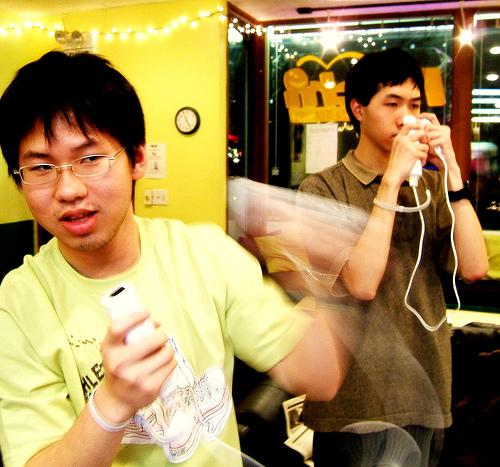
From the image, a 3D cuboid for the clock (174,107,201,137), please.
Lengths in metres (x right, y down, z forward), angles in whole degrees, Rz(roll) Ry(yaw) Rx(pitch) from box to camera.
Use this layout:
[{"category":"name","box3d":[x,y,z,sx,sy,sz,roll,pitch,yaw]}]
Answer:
[{"category":"clock","box3d":[-0.457,-0.820,3.135,0.182,0.195,0.043,3,7,9]}]

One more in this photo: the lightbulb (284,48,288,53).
[{"category":"lightbulb","box3d":[0.206,-1.046,2.457,0.012,0.024,0.036,-12,14,-28]}]

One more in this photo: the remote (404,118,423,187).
[{"category":"remote","box3d":[0.252,-0.117,0.684,0.020,0.129,0.034,4,-13,-2]}]

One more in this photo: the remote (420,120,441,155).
[{"category":"remote","box3d":[0.290,-0.152,0.701,0.017,0.050,0.049,-10,3,32]}]

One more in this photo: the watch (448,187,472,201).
[{"category":"watch","box3d":[0.377,-0.069,0.777,0.035,0.022,0.027,-4,8,5]}]

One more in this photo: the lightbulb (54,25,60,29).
[{"category":"lightbulb","box3d":[-1.496,-1.599,3.339,0.057,0.035,0.021,4,15,36]}]

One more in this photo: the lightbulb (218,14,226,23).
[{"category":"lightbulb","box3d":[-0.187,-1.472,2.948,0.045,0.048,0.064,3,15,13]}]

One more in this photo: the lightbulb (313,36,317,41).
[{"category":"lightbulb","box3d":[0.377,-1.119,2.476,0.014,0.022,0.012,-2,13,13]}]

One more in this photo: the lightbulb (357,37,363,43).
[{"category":"lightbulb","box3d":[0.578,-1.018,2.264,0.028,0.031,0.010,-1,13,19]}]

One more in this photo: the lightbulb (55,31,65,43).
[{"category":"lightbulb","box3d":[-1.321,-1.372,3.008,0.065,0.078,0.051,-1,-8,-9]}]

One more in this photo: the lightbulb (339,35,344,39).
[{"category":"lightbulb","box3d":[0.478,-1.028,2.252,0.031,0.019,0.010,-11,14,-22]}]

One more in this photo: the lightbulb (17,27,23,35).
[{"category":"lightbulb","box3d":[-1.775,-1.567,3.335,0.018,0.052,0.055,-2,13,14]}]

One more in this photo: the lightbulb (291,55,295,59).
[{"category":"lightbulb","box3d":[0.238,-0.990,2.413,0.018,0.021,0.023,-4,13,6]}]

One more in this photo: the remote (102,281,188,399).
[{"category":"remote","box3d":[-0.150,0.170,0.688,0.069,0.236,0.032,-36,25,-17]}]

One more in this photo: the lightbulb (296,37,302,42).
[{"category":"lightbulb","box3d":[0.279,-1.114,2.471,0.033,0.025,0.009,-12,14,-28]}]

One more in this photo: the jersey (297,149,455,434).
[{"category":"jersey","box3d":[0.214,0.109,0.748,0.226,0.486,0.243,9,13,25]}]

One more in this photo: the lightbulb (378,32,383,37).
[{"category":"lightbulb","box3d":[0.667,-1.014,2.195,0.012,0.023,0.038,-4,13,5]}]

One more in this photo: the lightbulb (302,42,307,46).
[{"category":"lightbulb","box3d":[0.312,-1.087,2.467,0.025,0.023,0.020,-3,13,9]}]
